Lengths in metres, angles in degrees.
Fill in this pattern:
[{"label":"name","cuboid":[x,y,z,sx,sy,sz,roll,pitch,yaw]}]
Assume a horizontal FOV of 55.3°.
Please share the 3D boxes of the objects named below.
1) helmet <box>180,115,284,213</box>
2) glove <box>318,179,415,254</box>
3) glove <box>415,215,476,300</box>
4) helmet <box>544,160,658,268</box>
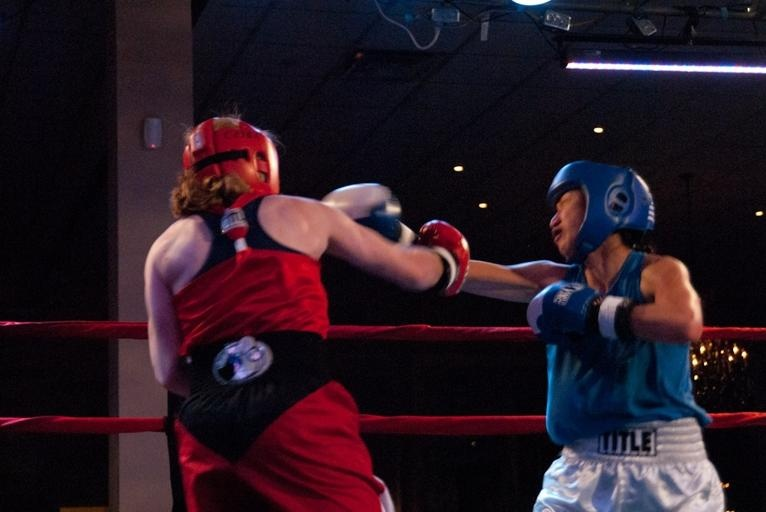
[{"label":"helmet","cuboid":[-0.638,-0.361,3.202,0.471,0.385,0.342,-6,-23,-17]},{"label":"glove","cuboid":[-0.054,-0.204,3.138,0.347,0.170,0.256,24,33,17]},{"label":"glove","cuboid":[0.293,-0.013,3.214,0.244,0.307,0.127,-5,-7,44]},{"label":"helmet","cuboid":[0.990,-0.207,3.590,0.520,0.429,0.384,-2,-9,-3]}]
